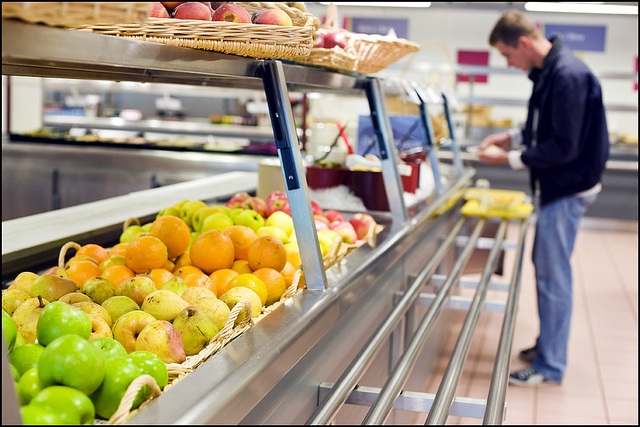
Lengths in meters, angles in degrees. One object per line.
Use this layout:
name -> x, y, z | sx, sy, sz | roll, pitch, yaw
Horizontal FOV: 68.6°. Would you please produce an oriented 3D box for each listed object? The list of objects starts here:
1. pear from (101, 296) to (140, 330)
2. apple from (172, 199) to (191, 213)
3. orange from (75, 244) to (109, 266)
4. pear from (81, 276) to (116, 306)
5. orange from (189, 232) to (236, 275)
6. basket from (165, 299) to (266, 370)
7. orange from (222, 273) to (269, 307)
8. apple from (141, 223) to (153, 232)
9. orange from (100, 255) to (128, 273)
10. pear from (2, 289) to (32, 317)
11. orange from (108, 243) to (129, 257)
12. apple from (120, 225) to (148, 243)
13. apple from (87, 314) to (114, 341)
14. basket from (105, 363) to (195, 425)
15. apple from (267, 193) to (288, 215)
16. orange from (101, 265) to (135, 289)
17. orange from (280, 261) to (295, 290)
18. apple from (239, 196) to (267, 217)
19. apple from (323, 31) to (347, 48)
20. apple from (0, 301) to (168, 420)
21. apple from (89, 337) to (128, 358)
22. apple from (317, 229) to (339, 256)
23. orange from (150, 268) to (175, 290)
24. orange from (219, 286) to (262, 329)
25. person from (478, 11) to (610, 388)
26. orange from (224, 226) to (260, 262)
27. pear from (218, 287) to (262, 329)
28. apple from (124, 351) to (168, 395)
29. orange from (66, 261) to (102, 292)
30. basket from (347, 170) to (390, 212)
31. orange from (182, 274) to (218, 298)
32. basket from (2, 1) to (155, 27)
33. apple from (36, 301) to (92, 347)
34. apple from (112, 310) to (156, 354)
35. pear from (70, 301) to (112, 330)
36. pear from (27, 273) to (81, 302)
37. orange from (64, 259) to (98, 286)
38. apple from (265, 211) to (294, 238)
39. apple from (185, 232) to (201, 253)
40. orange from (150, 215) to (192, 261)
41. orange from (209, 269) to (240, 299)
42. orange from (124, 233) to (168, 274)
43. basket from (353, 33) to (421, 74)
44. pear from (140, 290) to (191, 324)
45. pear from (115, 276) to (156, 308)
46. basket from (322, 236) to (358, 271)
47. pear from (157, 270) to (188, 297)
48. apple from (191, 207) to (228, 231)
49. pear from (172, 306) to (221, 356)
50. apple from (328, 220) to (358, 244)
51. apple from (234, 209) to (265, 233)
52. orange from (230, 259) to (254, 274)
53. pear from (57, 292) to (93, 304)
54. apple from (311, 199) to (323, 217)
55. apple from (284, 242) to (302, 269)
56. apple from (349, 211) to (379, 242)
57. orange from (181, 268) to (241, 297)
pear -> -0.505, 0.240, 1.176 | 0.049, 0.056, 0.049 | -13, -9, 31
apple -> -0.568, -0.027, 1.949 | 0.084, 0.058, 0.106 | -1, -2, -1
orange -> -0.729, 0.128, 1.528 | 0.079, 0.077, 0.092 | 27, -15, -21
pear -> -0.569, 0.196, 1.242 | 0.073, 0.071, 0.069 | -1, 20, 10
orange -> -0.333, 0.119, 1.485 | 0.134, 0.153, 0.142 | -13, -6, 40
basket -> -0.218, 0.286, 1.104 | 0.151, 0.045, 0.114 | -25, 2, 31
orange -> -0.201, 0.201, 1.335 | 0.106, 0.098, 0.098 | -3, 6, -4
apple -> -0.623, 0.047, 1.704 | 0.040, 0.020, 0.039 | -9, 9, -43
orange -> -0.617, 0.152, 1.437 | 0.058, 0.067, 0.057 | -18, -10, -2
pear -> -0.739, 0.224, 1.176 | 0.061, 0.069, 0.059 | -6, -21, -15
orange -> -0.656, 0.120, 1.541 | 0.041, 0.031, 0.032 | -3, 29, 26
apple -> -0.673, 0.072, 1.709 | 0.072, 0.072, 0.074 | 16, -4, 19
apple -> -0.496, 0.258, 1.061 | 0.044, 0.041, 0.046 | 43, 27, 12
basket -> -0.329, 0.344, 0.915 | 0.080, 0.030, 0.129 | -4, 1, 2
apple -> -0.188, -0.051, 2.132 | 0.096, 0.091, 0.092 | 18, 6, 10
orange -> -0.568, 0.172, 1.331 | 0.072, 0.067, 0.066 | -3, 0, -11
orange -> -0.098, 0.193, 1.500 | 0.069, 0.078, 0.068 | 1, 3, 7
apple -> -0.309, -0.031, 2.084 | 0.090, 0.088, 0.109 | -16, 2, 39
apple -> 0.064, -0.667, 1.806 | 0.072, 0.046, 0.076 | -3, 1, -33
apple -> -0.447, 0.301, 0.938 | 0.279, 0.187, 0.300 | -9, 17, -36
apple -> -0.448, 0.286, 1.003 | 0.061, 0.055, 0.058 | 12, 2, -28
apple -> 0.033, 0.097, 1.780 | 0.082, 0.095, 0.078 | 12, 28, 8
orange -> -0.451, 0.181, 1.338 | 0.059, 0.054, 0.057 | -8, -38, 10
orange -> -0.213, 0.260, 1.284 | 0.094, 0.107, 0.089 | 14, -16, -38
person -> 1.392, -0.115, 2.917 | 0.566, 2.222, 0.773 | -2, 14, -12
orange -> -0.237, 0.100, 1.534 | 0.113, 0.108, 0.110 | -3, -5, 3
pear -> -0.199, 0.238, 1.278 | 0.096, 0.093, 0.112 | -20, 34, 0
apple -> -0.353, 0.322, 0.959 | 0.076, 0.068, 0.073 | -10, -14, -8
orange -> -0.692, 0.164, 1.376 | 0.060, 0.054, 0.058 | 16, 37, -34
basket -> 0.265, -0.127, 2.470 | 0.227, 0.204, 0.191 | -3, 2, -34
orange -> -0.341, 0.199, 1.328 | 0.069, 0.066, 0.068 | 2, 11, -2
basket -> -0.391, -0.336, 0.766 | 0.224, 0.041, 0.068 | -1, 14, -11
apple -> -0.557, 0.254, 1.019 | 0.113, 0.109, 0.110 | 10, -18, -19
apple -> -0.438, 0.268, 1.097 | 0.097, 0.089, 0.094 | 1, -6, 28
pear -> -0.532, 0.237, 1.119 | 0.075, 0.071, 0.073 | 5, -14, 4
pear -> -0.670, 0.189, 1.215 | 0.083, 0.092, 0.075 | 1, -36, 4
orange -> -0.686, 0.167, 1.355 | 0.090, 0.079, 0.087 | 0, 3, 0
apple -> -0.161, 0.037, 1.872 | 0.108, 0.076, 0.143 | -1, 14, -8
apple -> -0.435, 0.096, 1.679 | 0.058, 0.068, 0.057 | 0, -2, 10
orange -> -0.501, 0.081, 1.534 | 0.142, 0.162, 0.144 | -1, -1, 33
orange -> -0.294, 0.209, 1.422 | 0.091, 0.086, 0.088 | -3, -7, -15
orange -> -0.514, 0.123, 1.402 | 0.130, 0.119, 0.112 | -8, 12, -40
basket -> 0.291, -0.711, 2.059 | 0.200, 0.182, 0.472 | 7, 15, 22
pear -> -0.374, 0.233, 1.160 | 0.103, 0.073, 0.075 | 7, -6, -11
pear -> -0.495, 0.205, 1.271 | 0.106, 0.090, 0.088 | 3, 6, -29
basket -> 0.065, 0.151, 1.677 | 0.079, 0.025, 0.143 | -30, 0, -41
pear -> -0.383, 0.187, 1.281 | 0.056, 0.074, 0.056 | 6, -27, 28
apple -> -0.411, 0.008, 1.781 | 0.124, 0.097, 0.098 | -19, -13, -19
pear -> -0.292, 0.279, 1.102 | 0.070, 0.086, 0.076 | -44, -3, 14
apple -> 0.098, 0.078, 1.949 | 0.117, 0.079, 0.104 | -6, 16, -29
apple -> -0.251, 0.020, 1.781 | 0.102, 0.082, 0.084 | -20, 1, 11
orange -> -0.240, 0.167, 1.477 | 0.045, 0.052, 0.044 | -29, 36, -15
pear -> -0.599, 0.207, 1.149 | 0.041, 0.022, 0.033 | 4, -5, -20
apple -> -0.010, -0.026, 2.106 | 0.075, 0.086, 0.074 | -4, 2, 6
apple -> -0.091, 0.145, 1.639 | 0.078, 0.092, 0.080 | -5, -8, 34
apple -> 0.199, 0.069, 2.102 | 0.131, 0.146, 0.128 | -9, 33, 6
orange -> -0.341, 0.190, 1.388 | 0.097, 0.081, 0.237 | 5, 1, 23
